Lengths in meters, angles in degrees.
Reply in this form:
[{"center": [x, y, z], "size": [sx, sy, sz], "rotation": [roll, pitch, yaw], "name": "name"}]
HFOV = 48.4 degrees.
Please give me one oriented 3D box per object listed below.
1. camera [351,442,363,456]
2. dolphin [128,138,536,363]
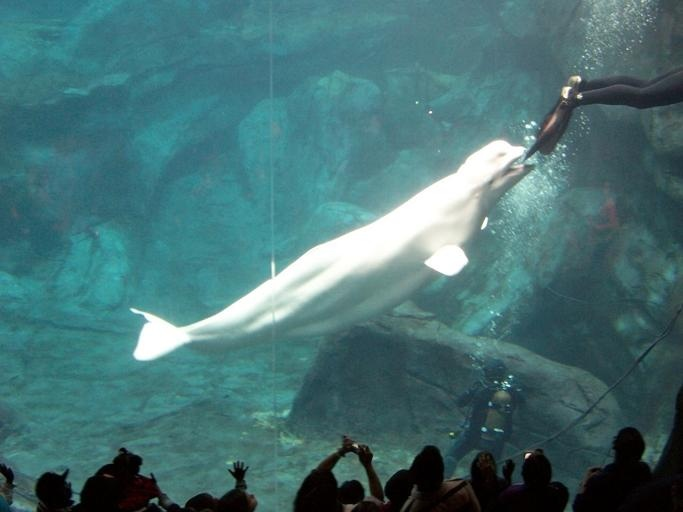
[{"center": [0.134, 1.777, 7.061], "size": [0.040, 0.105, 0.063], "rotation": [-21, -31, 21], "name": "camera"}, {"center": [0.193, -0.047, 9.143], "size": [4.514, 1.542, 0.731], "rotation": [-18, -38, 12], "name": "dolphin"}]
